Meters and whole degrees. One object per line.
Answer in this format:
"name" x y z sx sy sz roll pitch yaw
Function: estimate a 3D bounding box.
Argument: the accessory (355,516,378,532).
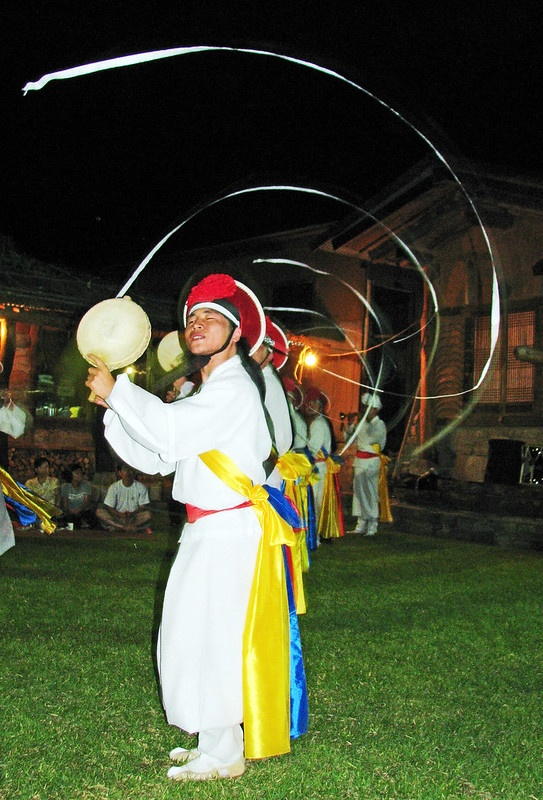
"accessory" 1.374 1.817 9.286 0.278 0.289 0.269 -13 -26 42

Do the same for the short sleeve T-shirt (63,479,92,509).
"short sleeve T-shirt" -2.544 1.294 8.676 0.547 0.469 0.291 3 -10 -22

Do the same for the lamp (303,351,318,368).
"lamp" 0.786 -0.797 13.131 0.069 0.269 0.290 7 3 42

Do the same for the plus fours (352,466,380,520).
"plus fours" 1.380 1.295 9.426 0.363 0.850 0.581 2 -3 8

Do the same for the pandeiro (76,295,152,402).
"pandeiro" -0.541 -0.229 2.267 0.194 0.276 0.200 1 -3 27

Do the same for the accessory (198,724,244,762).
"accessory" -0.184 1.197 2.309 0.187 0.171 0.112 4 -14 -7

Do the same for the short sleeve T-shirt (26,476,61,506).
"short sleeve T-shirt" -2.987 1.201 8.561 0.412 0.331 0.605 3 -4 -17

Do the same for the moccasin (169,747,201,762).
"moccasin" -0.322 1.308 2.394 0.092 0.029 0.052 -1 34 -25

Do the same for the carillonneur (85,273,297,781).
"carillonneur" -0.283 0.474 2.474 0.997 1.773 0.654 4 -5 -26

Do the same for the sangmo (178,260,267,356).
"sangmo" -0.165 -0.383 2.663 0.345 0.500 0.253 -2 6 -21

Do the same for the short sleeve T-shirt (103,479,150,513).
"short sleeve T-shirt" -1.832 1.270 8.374 0.714 0.525 0.359 1 -9 -9

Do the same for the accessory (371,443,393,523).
"accessory" 1.612 1.215 9.467 0.313 1.133 0.219 1 -7 -45
